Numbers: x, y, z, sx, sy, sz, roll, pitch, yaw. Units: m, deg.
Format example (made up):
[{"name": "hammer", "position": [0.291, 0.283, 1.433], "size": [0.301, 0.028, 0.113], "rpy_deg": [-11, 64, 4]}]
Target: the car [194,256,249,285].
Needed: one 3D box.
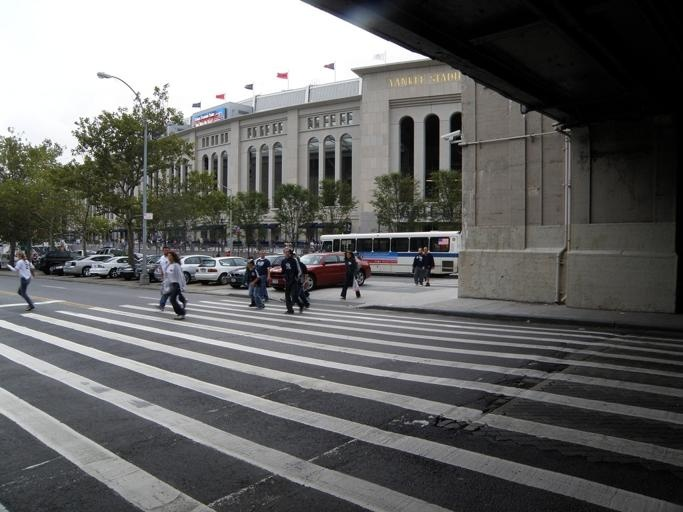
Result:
[{"name": "car", "position": [-5.600, 0.710, 29.031], "size": [1.090, 0.849, 2.435], "rpy_deg": [2, 7, 38]}]

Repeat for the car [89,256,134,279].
[{"name": "car", "position": [-13.028, 0.610, 35.815], "size": [1.272, 0.990, 2.791], "rpy_deg": [5, 10, 36]}]

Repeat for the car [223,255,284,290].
[{"name": "car", "position": [-3.677, 0.666, 27.593], "size": [1.187, 0.962, 2.685], "rpy_deg": [-1, -1, 30]}]

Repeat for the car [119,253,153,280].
[{"name": "car", "position": [-10.375, 0.571, 33.803], "size": [2.356, 1.133, 1.184], "rpy_deg": [3, -4, -37]}]

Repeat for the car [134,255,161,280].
[{"name": "car", "position": [-9.805, 0.594, 32.360], "size": [1.043, 0.988, 1.857], "rpy_deg": [-3, -8, 29]}]

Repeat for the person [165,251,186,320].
[{"name": "person", "position": [-4.399, 0.765, 16.998], "size": [0.493, 1.694, 1.086], "rpy_deg": [-2, 7, -15]}]

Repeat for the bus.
[{"name": "bus", "position": [2.888, -0.480, 37.877], "size": [8.851, 2.508, 2.115], "rpy_deg": [1, 13, 26]}]
